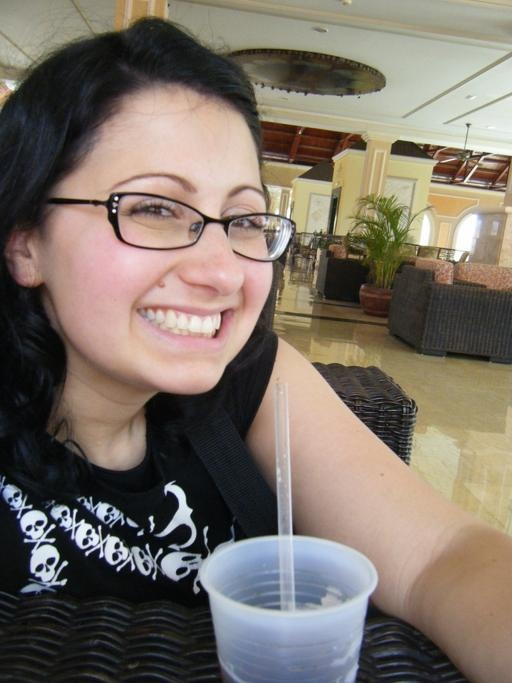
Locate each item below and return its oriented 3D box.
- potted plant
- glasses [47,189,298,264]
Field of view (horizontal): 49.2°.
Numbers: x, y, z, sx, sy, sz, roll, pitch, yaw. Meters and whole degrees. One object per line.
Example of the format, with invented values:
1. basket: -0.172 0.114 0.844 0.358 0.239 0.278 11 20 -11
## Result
1. potted plant: 1.709 -1.254 8.017 1.294 1.695 1.189 -7 17 -41
2. glasses: -0.059 -0.152 0.749 0.151 0.070 0.382 16 13 38
